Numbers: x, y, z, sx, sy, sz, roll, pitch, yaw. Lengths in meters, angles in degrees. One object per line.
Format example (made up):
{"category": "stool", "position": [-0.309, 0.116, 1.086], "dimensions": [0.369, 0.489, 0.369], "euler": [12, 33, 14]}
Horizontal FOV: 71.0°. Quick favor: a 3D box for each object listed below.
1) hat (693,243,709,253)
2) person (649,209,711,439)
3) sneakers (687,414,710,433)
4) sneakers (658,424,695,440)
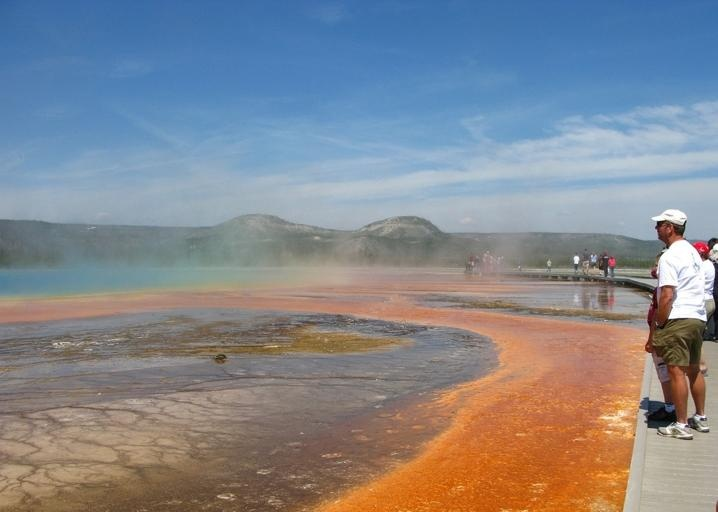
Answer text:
{"category": "hat", "position": [6.431, -0.154, 9.480], "dimensions": [0.257, 0.224, 0.274], "euler": [12, 18, 25]}
{"category": "person", "position": [4.004, 0.834, 6.287], "dimensions": [0.610, 2.824, 0.897], "euler": [0, 2, 31]}
{"category": "sneakers", "position": [4.379, 2.131, 6.419], "dimensions": [0.177, 0.131, 0.356], "euler": [-4, 1, 5]}
{"category": "sneakers", "position": [3.962, 2.183, 6.294], "dimensions": [0.435, 0.149, 0.176], "euler": [0, -5, 27]}
